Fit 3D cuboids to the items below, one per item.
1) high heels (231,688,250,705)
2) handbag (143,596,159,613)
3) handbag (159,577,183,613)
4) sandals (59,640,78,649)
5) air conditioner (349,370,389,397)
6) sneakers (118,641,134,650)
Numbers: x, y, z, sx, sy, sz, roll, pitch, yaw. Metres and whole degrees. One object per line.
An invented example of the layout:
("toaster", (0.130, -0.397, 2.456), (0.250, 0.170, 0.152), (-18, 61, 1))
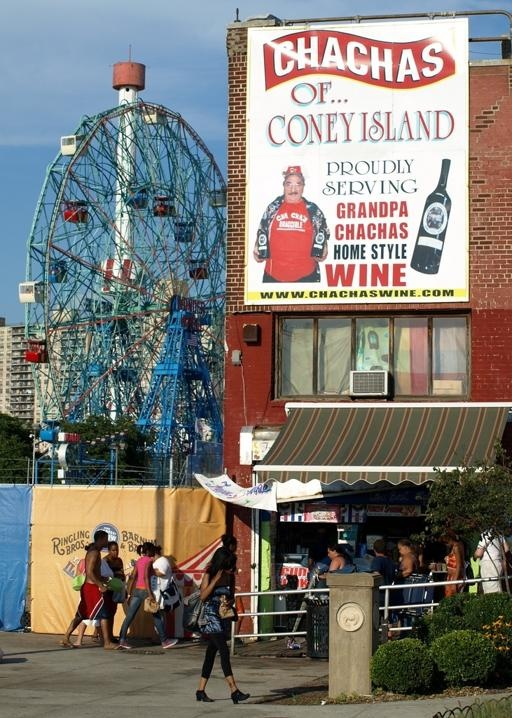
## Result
("high heels", (-0.170, 3.860, 21.979), (0.206, 0.160, 0.126), (-8, 0, -5))
("handbag", (-1.456, 3.438, 26.990), (0.175, 0.266, 0.126), (9, -31, -18))
("handbag", (-1.242, 3.460, 27.963), (0.324, 0.798, 0.509), (1, -1, 3))
("sandals", (-2.613, 4.015, 27.056), (0.269, 0.151, 0.092), (8, -7, -37))
("air conditioner", (1.768, 0.401, 30.313), (0.478, 0.452, 0.389), (-1, -6, 10))
("sneakers", (-1.820, 4.027, 27.083), (0.206, 0.189, 0.080), (2, -2, -6))
